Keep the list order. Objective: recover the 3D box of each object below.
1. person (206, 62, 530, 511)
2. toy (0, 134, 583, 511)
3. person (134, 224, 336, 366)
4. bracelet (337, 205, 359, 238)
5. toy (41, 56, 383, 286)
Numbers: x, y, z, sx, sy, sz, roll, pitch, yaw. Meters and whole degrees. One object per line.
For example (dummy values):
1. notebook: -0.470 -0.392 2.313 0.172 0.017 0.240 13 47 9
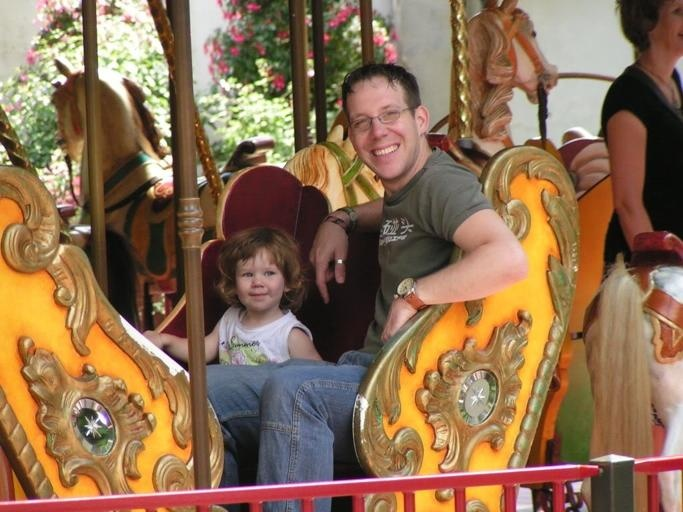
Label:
1. person: 0.053 0.106 4.964 0.889 1.489 0.923 -5 1 -33
2. toy: -0.158 0.306 5.414 1.797 1.493 1.128 -1 -2 -23
3. person: -0.455 0.287 5.267 0.660 0.780 0.475 1 3 -10
4. bracelet: 0.022 -0.143 5.439 0.069 0.101 0.039 -11 -9 42
5. toy: -0.728 -0.170 6.861 1.836 1.541 0.489 11 13 32
